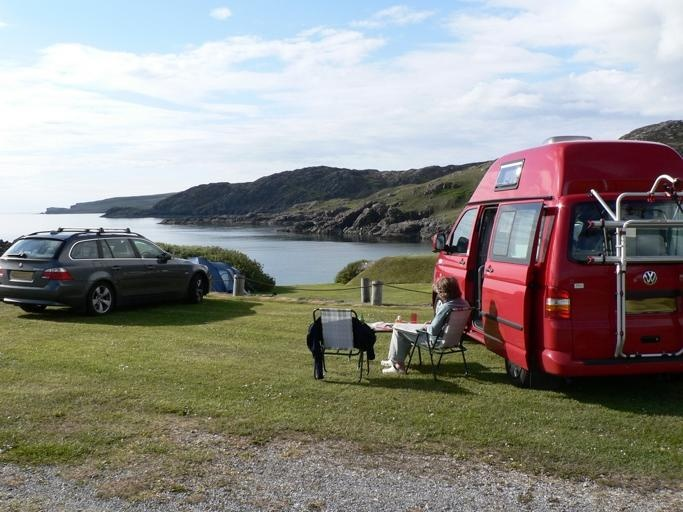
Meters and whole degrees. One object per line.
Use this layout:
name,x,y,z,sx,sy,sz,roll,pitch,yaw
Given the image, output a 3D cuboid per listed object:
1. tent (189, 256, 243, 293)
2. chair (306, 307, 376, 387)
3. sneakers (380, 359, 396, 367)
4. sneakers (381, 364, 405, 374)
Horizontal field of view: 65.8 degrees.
tent,-6.507,1.024,27.252,3.013,0.857,2.623,3,7,18
chair,-0.001,1.332,7.882,1.138,0.835,0.829,0,-17,-2
sneakers,0.743,1.730,8.485,0.124,0.078,0.228,-7,1,-39
sneakers,0.801,1.755,8.147,0.313,0.088,0.144,3,-6,3
